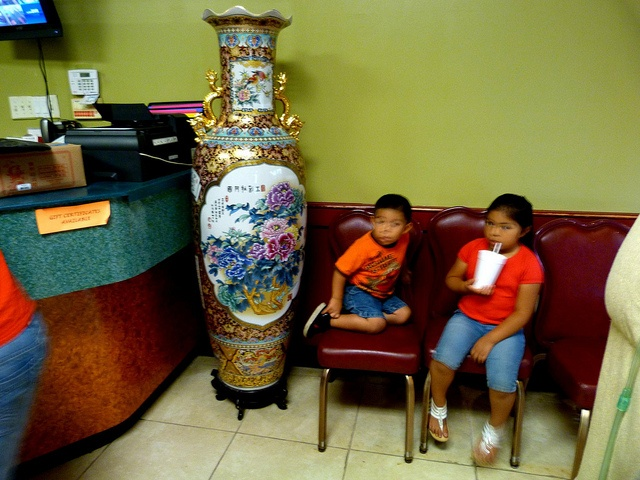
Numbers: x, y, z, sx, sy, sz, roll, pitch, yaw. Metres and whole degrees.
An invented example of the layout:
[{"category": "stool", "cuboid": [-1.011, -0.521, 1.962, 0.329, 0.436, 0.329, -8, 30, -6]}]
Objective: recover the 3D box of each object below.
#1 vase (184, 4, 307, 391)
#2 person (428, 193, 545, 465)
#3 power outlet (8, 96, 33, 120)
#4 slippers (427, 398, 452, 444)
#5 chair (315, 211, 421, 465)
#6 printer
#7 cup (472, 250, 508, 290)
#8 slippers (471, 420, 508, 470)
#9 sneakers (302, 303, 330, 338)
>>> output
[{"category": "vase", "cuboid": [-0.316, -0.124, 2.216, 0.486, 1.721, 0.447, -1, 24, -6]}, {"category": "person", "cuboid": [0.665, 0.371, 2.114, 0.373, 1.124, 0.519, 11, 25, 22]}, {"category": "power outlet", "cuboid": [-1.612, -0.734, 2.726, 0.156, 0.109, 0.033, 0, 13, 6]}, {"category": "slippers", "cuboid": [0.468, 0.785, 2.110, 0.087, 0.081, 0.221, -1, 15, 6]}, {"category": "chair", "cuboid": [0.190, 0.403, 2.275, 0.547, 0.962, 0.716, 5, 22, 10]}, {"category": "printer", "cuboid": [-0.905, -0.490, 2.339, 0.587, 0.243, 0.547, -20, 33, -28]}, {"category": "cup", "cuboid": [0.661, 0.128, 1.993, 0.153, 0.147, 0.124, 21, 11, 12]}, {"category": "slippers", "cuboid": [0.662, 0.862, 1.998, 0.102, 0.098, 0.262, -2, -11, 25]}, {"category": "sneakers", "cuboid": [-0.020, 0.373, 2.225, 0.099, 0.203, 0.065, 17, 53, -10]}]
